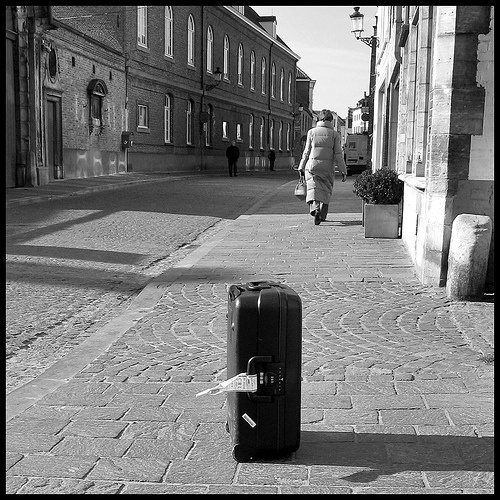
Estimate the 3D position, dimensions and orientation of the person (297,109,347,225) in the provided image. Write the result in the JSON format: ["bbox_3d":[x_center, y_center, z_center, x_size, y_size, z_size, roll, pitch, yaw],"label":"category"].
[{"bbox_3d":[1.419,-1.605,13.193,0.940,2.287,0.865,1,13,3],"label":"person"}]

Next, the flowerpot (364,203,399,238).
[{"bbox_3d":[2.203,-0.528,11.444,0.578,0.547,0.576,-1,9,-4],"label":"flowerpot"}]

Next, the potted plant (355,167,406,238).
[{"bbox_3d":[2.251,-0.853,11.607,0.827,1.097,0.899,1,8,19],"label":"potted plant"}]

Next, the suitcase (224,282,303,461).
[{"bbox_3d":[0.061,0.580,3.142,0.357,0.823,0.279,0,13,-2],"label":"suitcase"}]

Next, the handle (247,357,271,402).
[{"bbox_3d":[0.025,0.549,2.984,0.090,0.035,0.157,5,33,17],"label":"handle"}]
